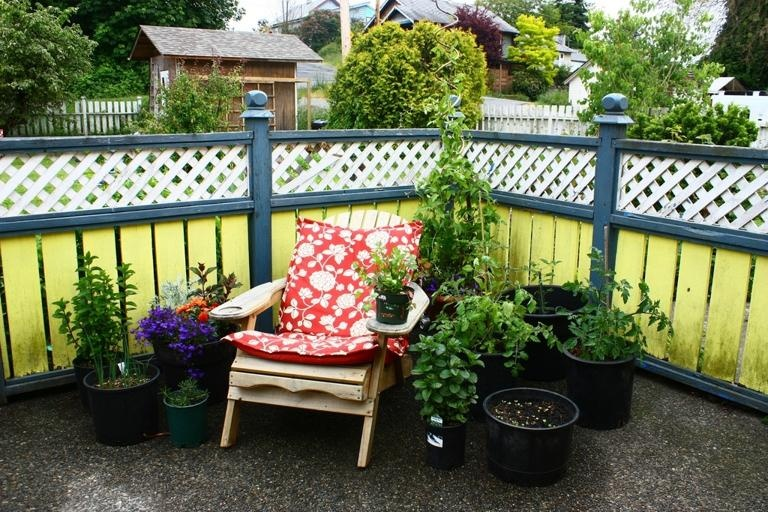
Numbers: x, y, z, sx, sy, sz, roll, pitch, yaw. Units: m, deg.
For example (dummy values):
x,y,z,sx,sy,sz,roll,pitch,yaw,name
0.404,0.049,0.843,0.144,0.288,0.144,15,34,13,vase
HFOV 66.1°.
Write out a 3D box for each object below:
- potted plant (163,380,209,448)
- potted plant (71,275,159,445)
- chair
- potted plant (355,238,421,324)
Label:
x,y,z,sx,sy,sz,roll,pitch,yaw,name
-1.296,1.018,3.846,0.287,0.408,0.268,-3,-5,-20,potted plant
-1.899,0.655,3.985,0.448,1.081,0.446,-6,5,-25,potted plant
-0.389,0.483,4.131,1.290,1.326,1.267,4,14,9,chair
0.008,0.154,3.863,0.474,0.539,0.497,2,0,-11,potted plant
